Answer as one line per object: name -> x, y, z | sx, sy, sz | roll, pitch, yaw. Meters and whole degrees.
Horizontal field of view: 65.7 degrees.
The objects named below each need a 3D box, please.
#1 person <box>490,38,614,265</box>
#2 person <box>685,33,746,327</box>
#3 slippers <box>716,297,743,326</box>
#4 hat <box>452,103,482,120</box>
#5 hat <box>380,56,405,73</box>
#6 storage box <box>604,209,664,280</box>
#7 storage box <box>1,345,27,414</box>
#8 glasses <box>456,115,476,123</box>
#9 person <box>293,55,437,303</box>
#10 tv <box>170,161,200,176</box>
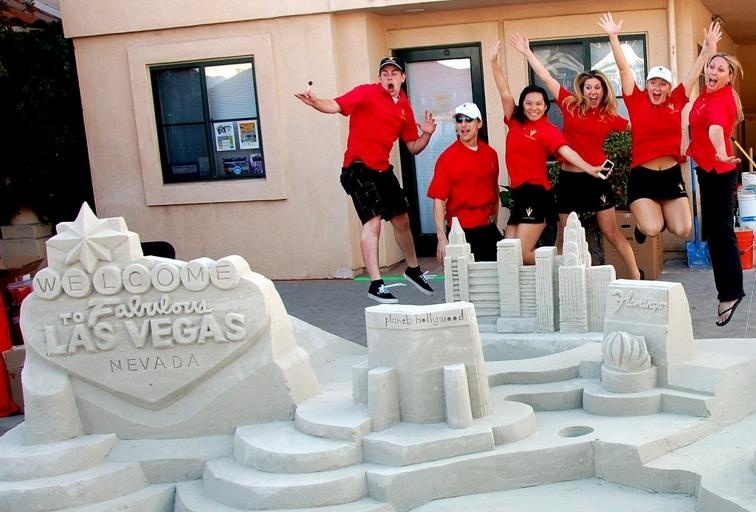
person -> 1.705, -1.086, 6.180 | 1.071, 2.296, 0.716 | 1, 14, 19
person -> 3.212, -0.586, 5.527 | 0.579, 2.543, 0.854 | 4, 15, 27
slippers -> 3.392, 0.541, 5.672 | 0.075, 0.272, 0.102 | 18, 19, -2
hat -> 1.002, -1.581, 6.352 | 0.208, 0.153, 0.301 | 1, -7, 29
hat -> 0.152, -2.218, 6.793 | 0.213, 0.167, 0.357 | 0, 14, 12
storage box -> 3.393, -0.149, 7.847 | 0.682, 0.815, 0.880 | 7, 10, 41
storage box -> -3.307, 1.130, 5.408 | 0.172, 0.565, 0.386 | -12, 16, -32
glasses -> 0.930, -1.468, 6.248 | 0.195, 0.089, 0.093 | -1, 14, 7
person -> 0.027, -0.881, 7.000 | 1.318, 2.822, 0.842 | -5, 13, -6
tv -> -3.097, -1.399, 9.399 | 0.467, 0.172, 0.063 | 2, 14, 18
